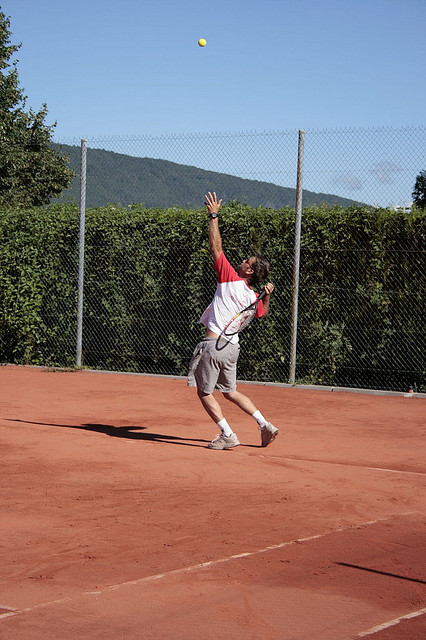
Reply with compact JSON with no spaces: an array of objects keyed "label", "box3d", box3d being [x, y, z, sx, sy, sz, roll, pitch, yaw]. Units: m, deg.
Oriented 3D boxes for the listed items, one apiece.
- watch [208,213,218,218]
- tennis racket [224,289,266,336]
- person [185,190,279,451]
[{"label":"watch","box3d":[0.006,-0.938,5.868,0.061,0.039,0.055,-7,5,-13]},{"label":"tennis racket","box3d":[0.309,-0.064,5.933,0.196,0.417,0.433,3,0,34]},{"label":"person","box3d":[0.186,0.000,5.985,0.779,2.336,0.390,3,0,-6]}]
